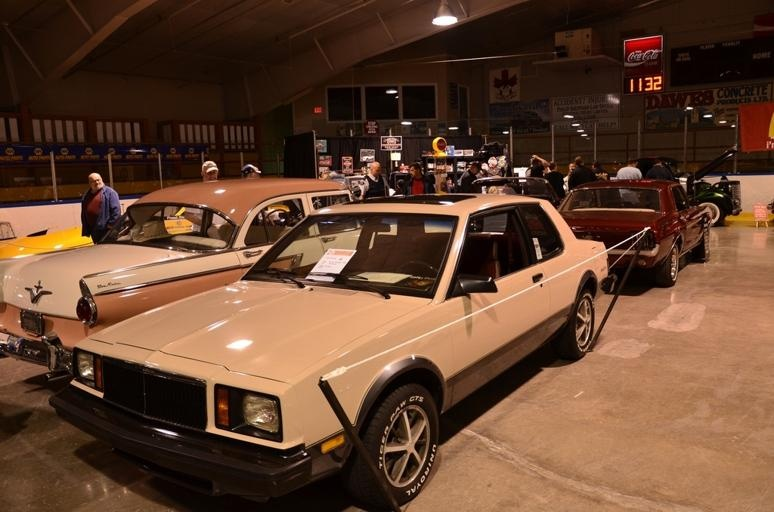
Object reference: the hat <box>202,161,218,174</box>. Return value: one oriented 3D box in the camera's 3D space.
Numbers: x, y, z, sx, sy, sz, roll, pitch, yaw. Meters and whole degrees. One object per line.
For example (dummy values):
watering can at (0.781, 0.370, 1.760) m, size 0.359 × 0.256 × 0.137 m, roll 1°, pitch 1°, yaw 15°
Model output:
hat at (-3.268, -1.630, 9.374) m, size 0.279 × 0.220 × 0.396 m, roll -11°, pitch 9°, yaw -26°

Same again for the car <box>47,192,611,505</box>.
car at (-0.317, 0.662, 4.699) m, size 4.681 × 2.210 × 2.098 m, roll -12°, pitch 16°, yaw -38°

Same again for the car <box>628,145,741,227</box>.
car at (10.593, -2.554, 18.559) m, size 2.129 × 2.351 × 3.864 m, roll -17°, pitch 16°, yaw -40°
